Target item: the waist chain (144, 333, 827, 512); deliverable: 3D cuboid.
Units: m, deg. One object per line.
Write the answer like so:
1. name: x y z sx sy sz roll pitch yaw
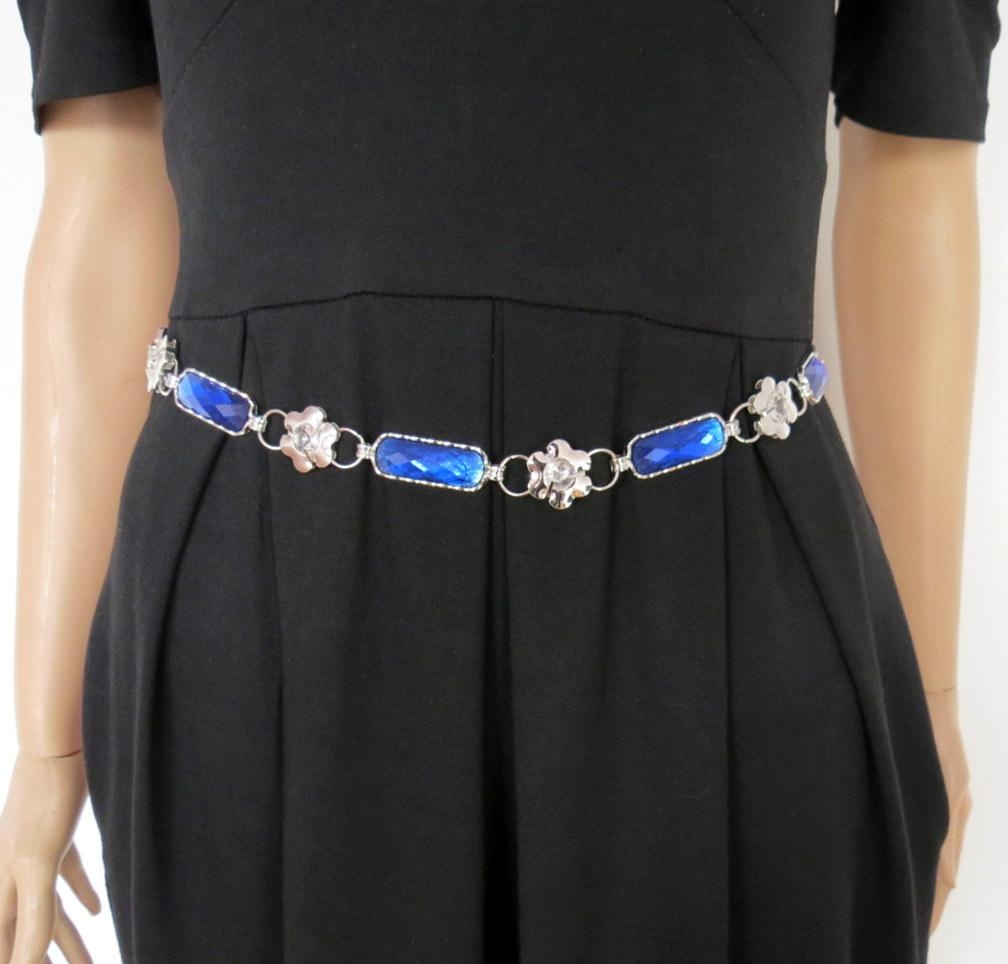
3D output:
1. waist chain: -0.024 -0.028 1.475 0.403 0.157 0.055 4 -22 1
